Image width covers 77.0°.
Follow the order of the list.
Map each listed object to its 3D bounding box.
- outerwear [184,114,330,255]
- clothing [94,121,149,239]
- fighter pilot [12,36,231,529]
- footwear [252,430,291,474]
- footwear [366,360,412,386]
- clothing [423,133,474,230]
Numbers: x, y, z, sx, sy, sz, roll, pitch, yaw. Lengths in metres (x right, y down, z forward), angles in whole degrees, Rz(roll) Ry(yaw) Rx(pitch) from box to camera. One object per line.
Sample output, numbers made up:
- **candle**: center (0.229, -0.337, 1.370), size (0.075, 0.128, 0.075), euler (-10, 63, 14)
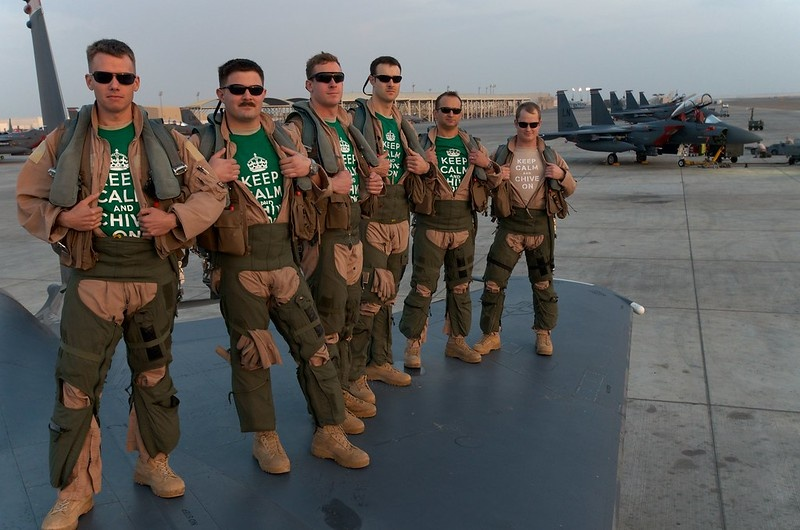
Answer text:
- **outerwear**: center (-0.923, -0.498, 3.169), size (0.785, 0.735, 0.430), euler (-25, 29, -37)
- **clothing**: center (-1.583, -0.466, 2.795), size (0.211, 0.601, 0.270), euler (-7, 19, -12)
- **fighter pilot**: center (-1.619, 0.120, 2.879), size (1.232, 2.636, 0.637), euler (-15, 22, -32)
- **footwear**: center (-0.882, 1.224, 3.425), size (0.169, 0.214, 0.362), euler (-8, 17, -43)
- **footwear**: center (-0.103, 0.976, 4.601), size (0.457, 0.198, 0.169), euler (7, 23, 9)
- **clothing**: center (0.473, -0.962, 4.676), size (0.539, 0.615, 0.397), euler (-1, 19, 2)
